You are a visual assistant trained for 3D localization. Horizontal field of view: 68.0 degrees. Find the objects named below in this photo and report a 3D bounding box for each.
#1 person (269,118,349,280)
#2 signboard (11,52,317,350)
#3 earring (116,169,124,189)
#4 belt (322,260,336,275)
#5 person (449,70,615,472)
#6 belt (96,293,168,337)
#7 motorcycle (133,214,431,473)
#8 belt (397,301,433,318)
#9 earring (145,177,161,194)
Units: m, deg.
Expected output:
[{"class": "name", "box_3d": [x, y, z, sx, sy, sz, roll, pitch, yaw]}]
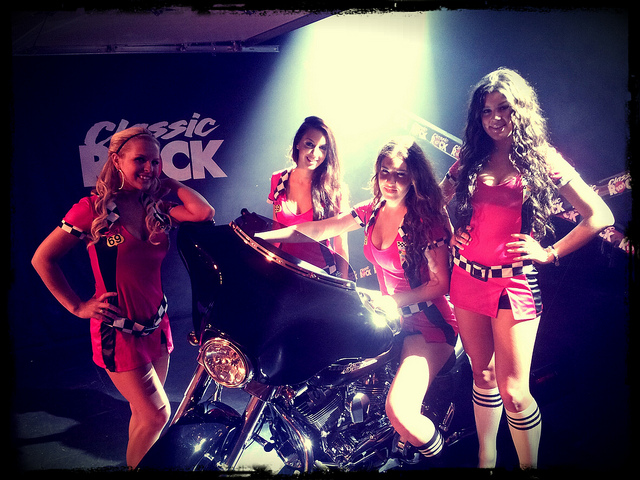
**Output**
[{"class": "person", "box_3d": [-0.142, -0.229, 3.811, 0.729, 0.355, 1.794, 5, -42, -2]}, {"class": "signboard", "box_3d": [-1.085, -0.360, 3.197, 2.181, 2.135, 0.030, -1, 0, -13]}, {"class": "earring", "box_3d": [-1.367, -0.421, 3.249, 0.041, 0.134, 0.020, -2, 3, -11]}, {"class": "belt", "box_3d": [0.045, 0.165, 2.710, 0.077, 0.065, 0.049, -42, -13, -30]}, {"class": "person", "box_3d": [1.344, 0.246, 3.249, 0.895, 2.855, 0.218, -1, 3, 0]}, {"class": "belt", "box_3d": [-1.297, 0.538, 3.220, 0.282, 0.271, 0.068, 12, -35, 14]}, {"class": "motorcycle", "box_3d": [0.130, 0.673, 3.145, 0.982, 1.253, 2.206, 6, -2, 44]}, {"class": "belt", "box_3d": [0.621, 0.425, 3.125, 0.176, 0.061, 0.122, -21, 0, -14]}, {"class": "earring", "box_3d": [-1.165, -0.383, 3.308, 0.035, 0.115, 0.107, 1, 4, 42]}]
